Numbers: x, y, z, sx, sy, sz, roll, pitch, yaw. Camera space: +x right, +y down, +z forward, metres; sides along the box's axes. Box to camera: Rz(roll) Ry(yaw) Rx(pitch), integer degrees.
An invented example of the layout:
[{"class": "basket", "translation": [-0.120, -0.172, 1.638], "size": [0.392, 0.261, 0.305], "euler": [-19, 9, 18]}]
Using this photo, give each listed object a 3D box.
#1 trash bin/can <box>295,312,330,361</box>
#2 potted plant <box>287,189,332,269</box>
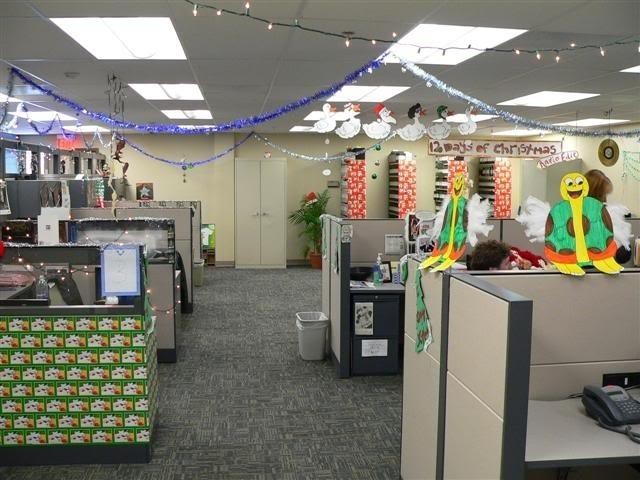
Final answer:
[{"class": "trash bin/can", "translation": [-0.080, 1.157, 5.901], "size": [0.404, 0.495, 0.404], "euler": [0, 12, 11]}, {"class": "potted plant", "translation": [-0.115, -0.335, 11.834], "size": [1.378, 1.885, 1.436], "euler": [-4, -7, 18]}]
